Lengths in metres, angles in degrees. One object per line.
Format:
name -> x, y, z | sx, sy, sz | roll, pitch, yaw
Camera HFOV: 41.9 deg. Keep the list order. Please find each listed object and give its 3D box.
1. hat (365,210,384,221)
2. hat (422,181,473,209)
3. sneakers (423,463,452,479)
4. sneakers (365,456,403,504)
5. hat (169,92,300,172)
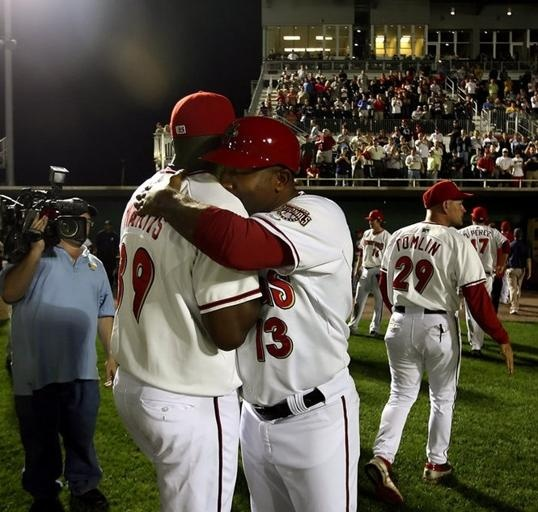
hat -> 1.747, -0.655, 11.478 | 0.206, 0.177, 0.586 | 1, 6, 4
hat -> 1.433, -0.504, 5.711 | 0.328, 0.226, 0.349 | 2, 6, 19
sneakers -> 1.294, 1.629, 5.414 | 0.095, 0.125, 0.237 | -2, 0, 43
sneakers -> 0.840, 1.621, 5.139 | 0.148, 0.422, 0.152 | -27, -6, 29
hat -> -0.159, -0.601, 3.390 | 0.622, 0.397, 0.280 | -1, 5, -12
